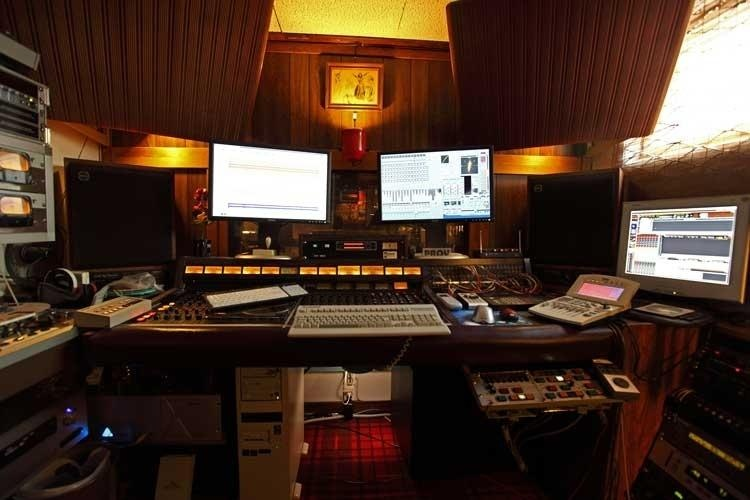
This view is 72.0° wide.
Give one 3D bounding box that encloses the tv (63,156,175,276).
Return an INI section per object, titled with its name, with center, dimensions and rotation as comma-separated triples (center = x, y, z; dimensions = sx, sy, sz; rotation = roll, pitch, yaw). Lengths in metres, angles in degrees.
[tv]
center = -1.521, -0.185, 3.009
dimensions = 0.760, 0.739, 0.083
rotation = -2, 3, -32

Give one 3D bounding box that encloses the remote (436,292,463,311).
[remote]
center = 0.397, 0.271, 2.810
dimensions = 0.068, 0.027, 0.136
rotation = 5, 18, -18

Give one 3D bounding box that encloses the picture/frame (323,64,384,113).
[picture/frame]
center = -0.172, -1.129, 3.562
dimensions = 0.380, 0.257, 0.027
rotation = 0, 2, -4
